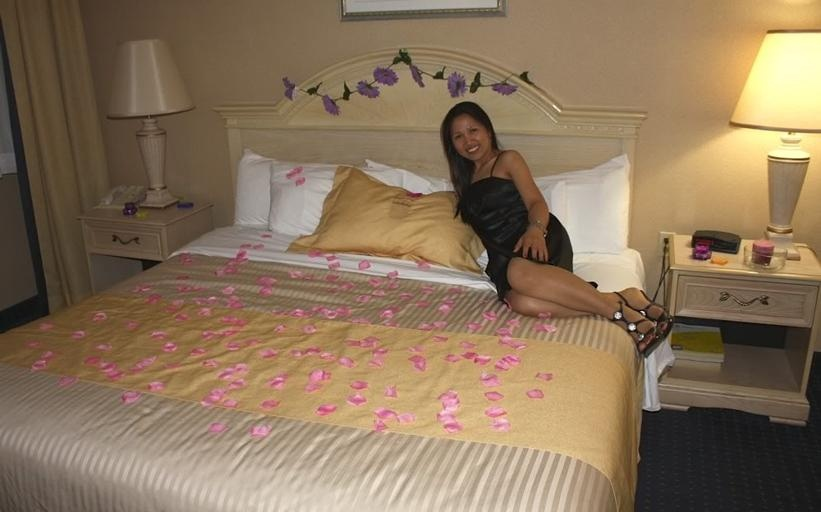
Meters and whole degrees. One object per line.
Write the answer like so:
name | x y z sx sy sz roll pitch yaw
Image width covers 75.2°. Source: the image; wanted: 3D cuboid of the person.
person | 0.853 -0.167 3.123 0.606 0.744 1.648 -36 48 -12

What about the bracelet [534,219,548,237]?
bracelet | 0.737 -0.156 3.024 0.080 0.050 0.077 40 -3 -34

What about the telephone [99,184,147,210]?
telephone | -2.233 -0.461 4.145 0.286 0.079 0.252 0 34 -4
